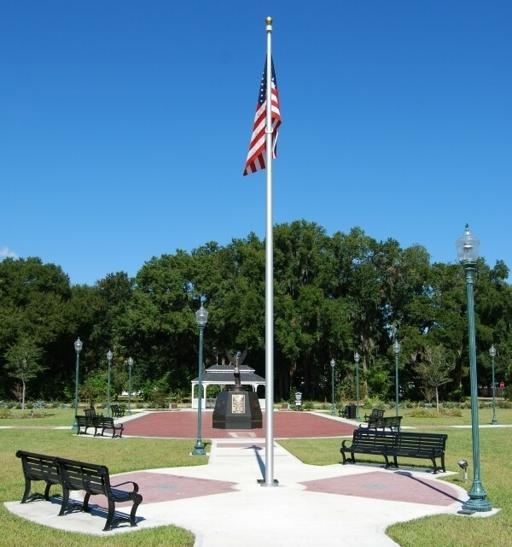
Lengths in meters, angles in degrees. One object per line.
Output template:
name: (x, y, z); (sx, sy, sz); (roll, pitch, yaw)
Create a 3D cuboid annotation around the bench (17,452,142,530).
bench: (-3.010, 3.434, 11.082); (0.610, 0.871, 2.171); (-13, -27, 23)

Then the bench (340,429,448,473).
bench: (3.377, 4.404, 16.776); (2.513, 0.994, 0.776); (-5, -10, 37)
